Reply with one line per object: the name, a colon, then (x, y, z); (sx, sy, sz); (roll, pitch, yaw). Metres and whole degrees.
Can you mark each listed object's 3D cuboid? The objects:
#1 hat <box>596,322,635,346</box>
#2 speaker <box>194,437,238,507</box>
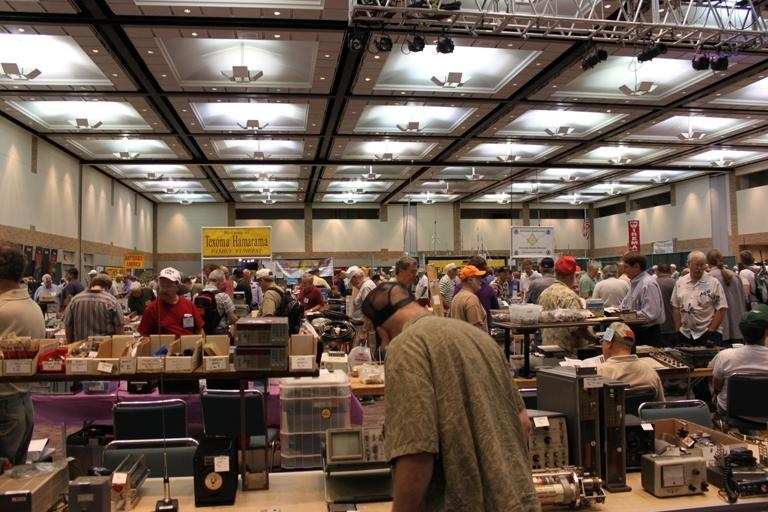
hat: (2.300, 0.772, 5.786); (0.209, 0.137, 0.278); (10, -11, -15)
speaker: (-1.386, 1.771, 5.035); (0.430, 0.507, 0.749); (1, -5, -5)
